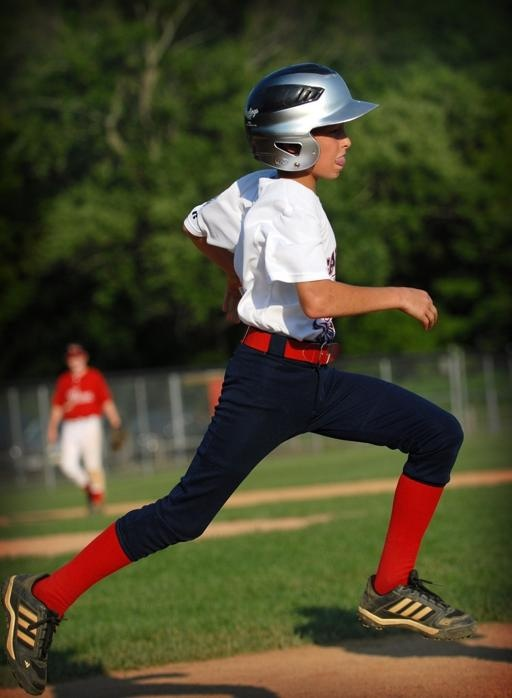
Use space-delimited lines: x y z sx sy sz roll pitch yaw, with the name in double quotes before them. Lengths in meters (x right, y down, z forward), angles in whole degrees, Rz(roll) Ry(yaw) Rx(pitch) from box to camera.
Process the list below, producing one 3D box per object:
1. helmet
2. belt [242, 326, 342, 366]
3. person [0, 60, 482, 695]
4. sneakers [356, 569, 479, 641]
"helmet" 0.137 -0.769 2.757 0.519 0.307 0.324 1 15 6
"belt" 0.106 -0.037 2.750 0.196 0.054 0.184 12 1 -37
"person" -0.001 0.083 2.826 1.495 2.110 0.568 0 10 -10
"sneakers" 0.565 0.918 3.080 0.544 0.218 0.174 4 7 15
